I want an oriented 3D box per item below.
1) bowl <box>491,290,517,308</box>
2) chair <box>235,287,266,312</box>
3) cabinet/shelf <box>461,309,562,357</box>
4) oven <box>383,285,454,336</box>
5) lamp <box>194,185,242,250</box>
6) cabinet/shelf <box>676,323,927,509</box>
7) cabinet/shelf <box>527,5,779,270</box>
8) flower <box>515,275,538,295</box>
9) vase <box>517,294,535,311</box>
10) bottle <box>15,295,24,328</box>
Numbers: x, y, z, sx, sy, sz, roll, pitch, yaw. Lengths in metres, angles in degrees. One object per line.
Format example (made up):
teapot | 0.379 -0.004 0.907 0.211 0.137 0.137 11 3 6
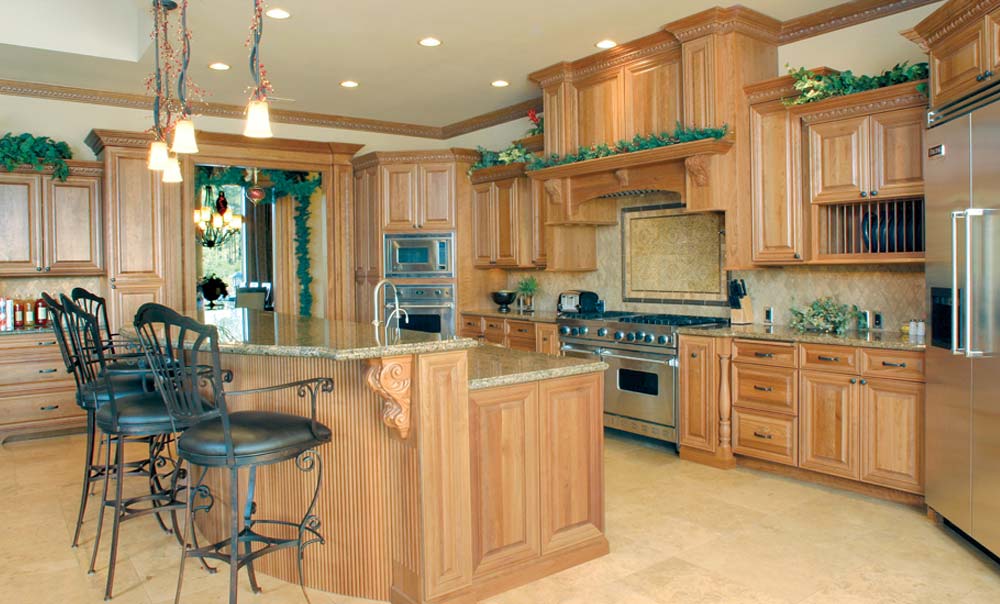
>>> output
bowl | 0.048 -0.030 8.545 0.275 0.145 0.243 0 -2 -2
chair | -4.009 -0.033 11.098 0.449 0.349 0.377 4 7 -3
cabinet/shelf | -0.032 0.517 8.168 1.347 0.606 0.423 9 -16 -32
oven | -0.962 0.093 8.852 0.897 0.959 0.745 0 -4 -9
lamp | -4.816 -1.386 11.460 0.825 0.756 0.742 -2 -4 -3
cabinet/shelf | 3.034 0.988 6.319 1.181 1.212 2.364 0 0 -36
cabinet/shelf | 1.586 -1.708 6.872 0.943 2.029 2.736 2 -3 -39
flower | 0.314 -0.205 8.616 0.264 0.205 0.254 -7 9 -40
vase | 0.316 0.009 8.726 0.237 0.191 0.208 0 8 -8
bottle | -5.381 0.118 7.720 0.102 0.298 0.318 -7 6 -34
